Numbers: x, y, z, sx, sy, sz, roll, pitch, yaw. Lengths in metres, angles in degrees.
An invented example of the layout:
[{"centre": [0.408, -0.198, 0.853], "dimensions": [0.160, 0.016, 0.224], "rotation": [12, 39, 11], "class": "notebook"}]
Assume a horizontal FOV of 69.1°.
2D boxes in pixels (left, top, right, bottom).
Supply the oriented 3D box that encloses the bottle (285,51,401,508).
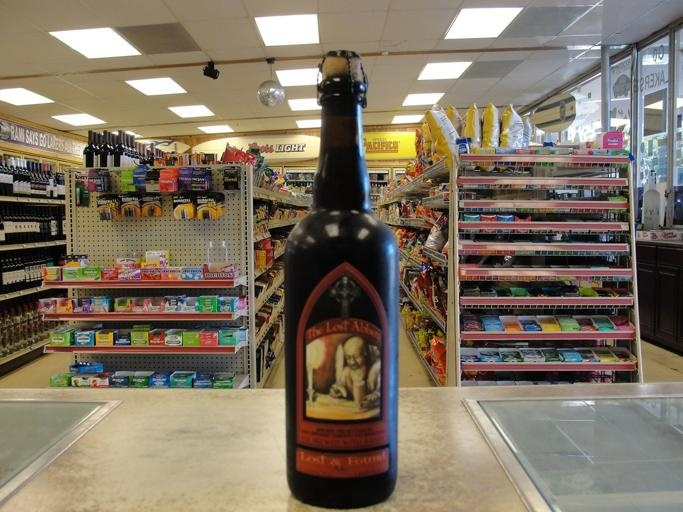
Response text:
[{"centre": [-0.001, 0.029, 0.725], "dimensions": [0.166, 0.631, 0.205], "rotation": [0, 15, 0], "class": "bottle"}]
